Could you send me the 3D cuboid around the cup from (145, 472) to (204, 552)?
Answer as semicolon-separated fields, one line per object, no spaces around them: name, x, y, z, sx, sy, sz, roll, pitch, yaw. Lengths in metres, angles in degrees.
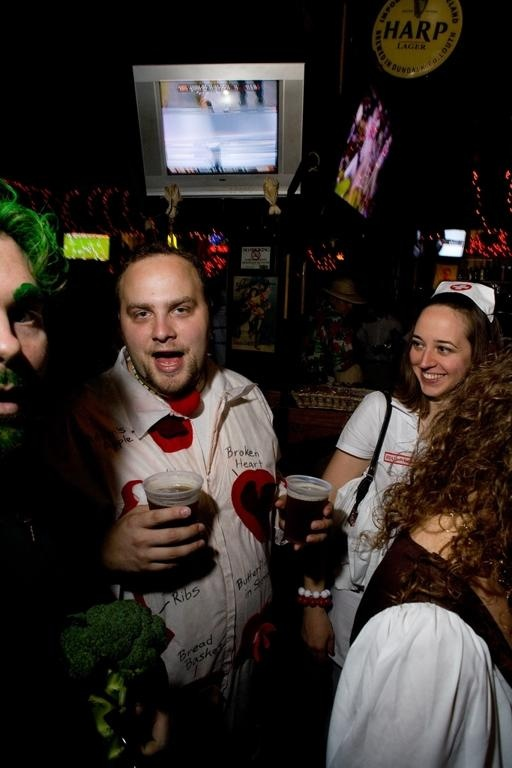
cup;-0.230;0.343;1.588;0.158;0.159;0.155;-1;13;0
